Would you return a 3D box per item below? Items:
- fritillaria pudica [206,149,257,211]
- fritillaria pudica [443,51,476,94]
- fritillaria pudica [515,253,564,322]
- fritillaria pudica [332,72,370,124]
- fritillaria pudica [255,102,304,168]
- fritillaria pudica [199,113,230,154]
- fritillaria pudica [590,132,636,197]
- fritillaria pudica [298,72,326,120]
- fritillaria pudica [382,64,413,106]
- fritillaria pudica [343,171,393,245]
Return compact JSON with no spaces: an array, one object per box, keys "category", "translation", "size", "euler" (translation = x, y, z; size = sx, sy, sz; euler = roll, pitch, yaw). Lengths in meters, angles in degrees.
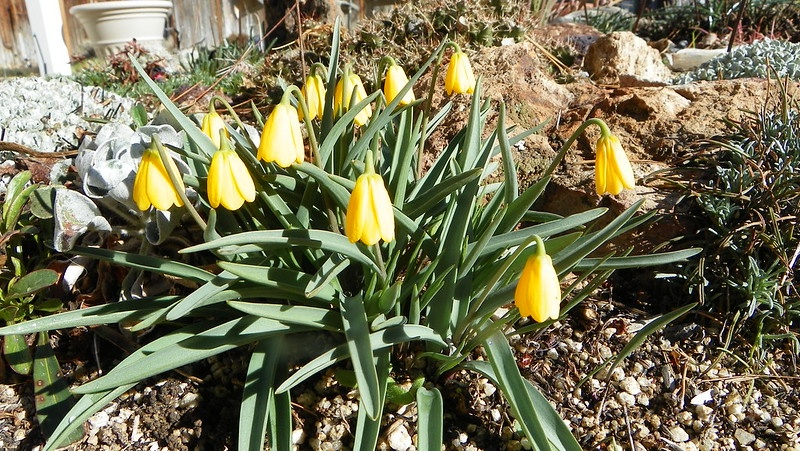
[{"category":"fritillaria pudica","translation":[-0.898,-0.242,3.643],"size":[0.229,0.333,0.212],"euler":[-10,23,-13]},{"category":"fritillaria pudica","translation":[0.348,-0.879,3.966],"size":[0.170,0.240,0.240],"euler":[-1,14,5]},{"category":"fritillaria pudica","translation":[0.703,0.340,3.523],"size":[0.199,0.281,0.201],"euler":[0,18,12]},{"category":"fritillaria pudica","translation":[-0.279,-0.727,3.973],"size":[0.209,0.324,0.287],"euler":[-4,14,-5]},{"category":"fritillaria pudica","translation":[-0.647,-0.467,3.672],"size":[0.261,0.352,0.257],"euler":[5,-13,-24]},{"category":"fritillaria pudica","translation":[-1.031,-0.522,3.833],"size":[0.135,0.202,0.217],"euler":[-7,15,-16]},{"category":"fritillaria pudica","translation":[1.155,-0.321,3.713],"size":[0.185,0.345,0.155],"euler":[1,15,14]},{"category":"fritillaria pudica","translation":[-0.509,-0.735,3.974],"size":[0.145,0.272,0.328],"euler":[0,14,9]},{"category":"fritillaria pudica","translation":[-0.015,-0.797,3.917],"size":[0.154,0.238,0.254],"euler":[-3,14,-2]},{"category":"fritillaria pudica","translation":[-0.169,-0.074,3.569],"size":[0.244,0.372,0.224],"euler":[-5,14,-20]}]
